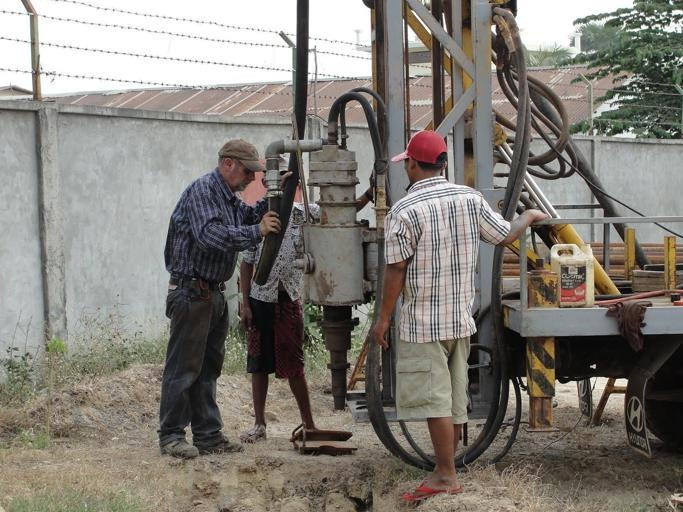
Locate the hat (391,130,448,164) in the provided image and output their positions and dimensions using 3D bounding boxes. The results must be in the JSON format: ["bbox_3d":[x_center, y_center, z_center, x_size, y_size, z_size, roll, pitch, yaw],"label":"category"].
[{"bbox_3d":[0.586,-0.900,9.658,0.455,0.296,0.313,7,11,29],"label":"hat"}]

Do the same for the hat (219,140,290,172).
[{"bbox_3d":[-0.849,-0.927,10.456,0.439,0.292,0.303,3,7,8],"label":"hat"}]

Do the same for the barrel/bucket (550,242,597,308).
[{"bbox_3d":[1.821,0.165,9.731,0.398,0.730,0.245,0,-4,-2],"label":"barrel/bucket"}]

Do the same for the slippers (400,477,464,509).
[{"bbox_3d":[0.680,1.888,9.568,0.446,0.138,0.204,-5,-3,6],"label":"slippers"}]

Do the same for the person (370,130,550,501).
[{"bbox_3d":[0.749,0.470,9.572,1.037,2.944,0.316,-3,3,-14],"label":"person"}]

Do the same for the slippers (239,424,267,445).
[{"bbox_3d":[-0.838,1.636,10.954,0.210,0.120,0.131,5,3,-41],"label":"slippers"}]
